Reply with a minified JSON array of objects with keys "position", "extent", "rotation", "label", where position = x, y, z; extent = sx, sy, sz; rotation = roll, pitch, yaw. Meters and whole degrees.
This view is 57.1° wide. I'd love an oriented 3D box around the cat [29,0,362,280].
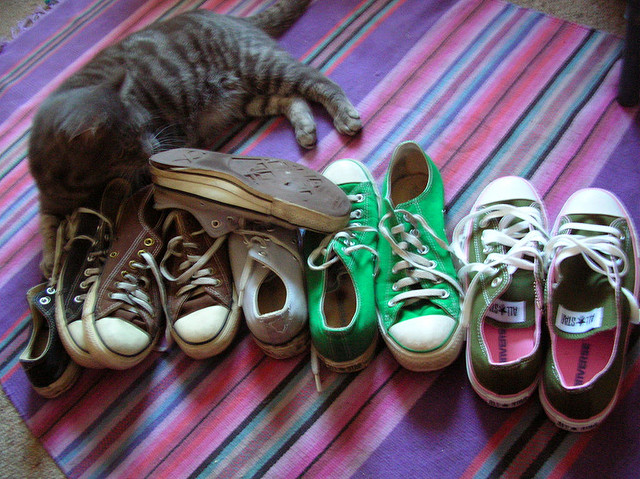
[{"position":[-0.349,-0.318,1.809],"extent":[0.958,0.294,0.682],"rotation":[-43,43,-1],"label":"cat"}]
